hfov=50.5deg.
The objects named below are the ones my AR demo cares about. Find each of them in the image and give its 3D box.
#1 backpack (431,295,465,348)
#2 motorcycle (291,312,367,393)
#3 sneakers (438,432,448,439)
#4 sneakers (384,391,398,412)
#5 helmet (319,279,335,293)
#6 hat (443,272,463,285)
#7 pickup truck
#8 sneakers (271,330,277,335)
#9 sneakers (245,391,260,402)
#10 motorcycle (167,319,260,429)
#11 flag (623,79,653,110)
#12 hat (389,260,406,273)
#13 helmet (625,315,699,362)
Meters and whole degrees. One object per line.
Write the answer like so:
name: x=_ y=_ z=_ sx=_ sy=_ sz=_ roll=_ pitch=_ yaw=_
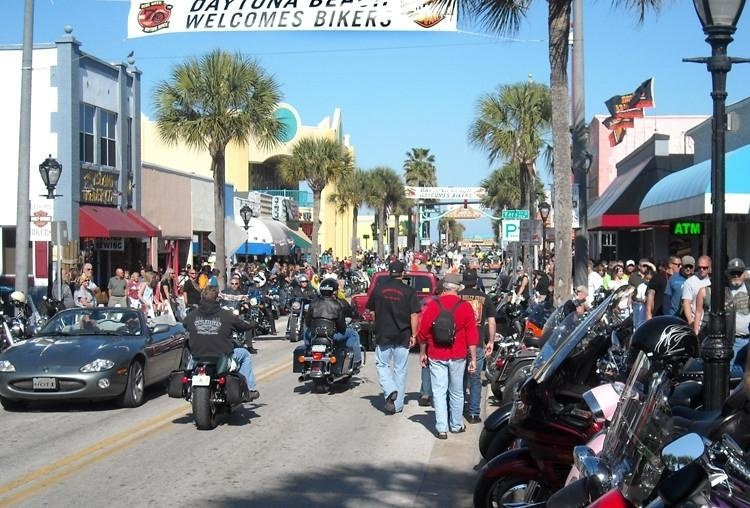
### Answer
backpack: x=1.129 y=1.044 z=11.863 sx=0.379 sy=0.614 sz=0.606 roll=1 pitch=-2 yaw=8
motorcycle: x=-1.055 y=1.952 z=14.600 sx=0.830 sy=1.006 sz=1.636 roll=0 pitch=7 yaw=15
sneakers: x=0.983 y=2.588 z=11.516 sx=0.164 sy=0.097 sz=0.183 roll=3 pitch=6 yaw=4
sneakers: x=0.256 y=2.432 z=13.056 sx=0.144 sy=0.407 sz=0.224 roll=4 pitch=-7 yaw=-10
helmet: x=-0.928 y=0.579 z=14.932 sx=0.211 sy=0.283 sz=0.254 roll=6 pitch=-26 yaw=12
hat: x=1.189 y=0.363 z=12.062 sx=0.267 sy=0.182 sz=0.409 roll=3 pitch=6 yaw=4
pickup truck: x=0.966 y=1.129 z=21.064 sx=1.396 sy=1.350 sz=2.871 roll=8 pitch=18 yaw=7
sneakers: x=-3.234 y=2.419 z=24.798 sx=0.125 sy=0.135 sz=0.175 roll=-1 pitch=-10 yaw=-9
sneakers: x=-1.956 y=2.214 z=12.491 sx=0.203 sy=0.093 sz=0.247 roll=9 pitch=37 yaw=7
motorcycle: x=-2.561 y=2.057 z=12.091 sx=1.202 sy=1.177 sz=0.786 roll=1 pitch=6 yaw=-11
flag: x=13.941 y=-8.190 z=40.884 sx=1.125 sy=1.465 sz=0.401 roll=4 pitch=6 yaw=15
hat: x=0.361 y=0.200 z=13.446 sx=0.235 sy=0.236 sz=0.418 roll=2 pitch=6 yaw=-1
helmet: x=2.384 y=0.700 z=6.522 sx=0.460 sy=0.417 sz=0.360 roll=20 pitch=-10 yaw=15
